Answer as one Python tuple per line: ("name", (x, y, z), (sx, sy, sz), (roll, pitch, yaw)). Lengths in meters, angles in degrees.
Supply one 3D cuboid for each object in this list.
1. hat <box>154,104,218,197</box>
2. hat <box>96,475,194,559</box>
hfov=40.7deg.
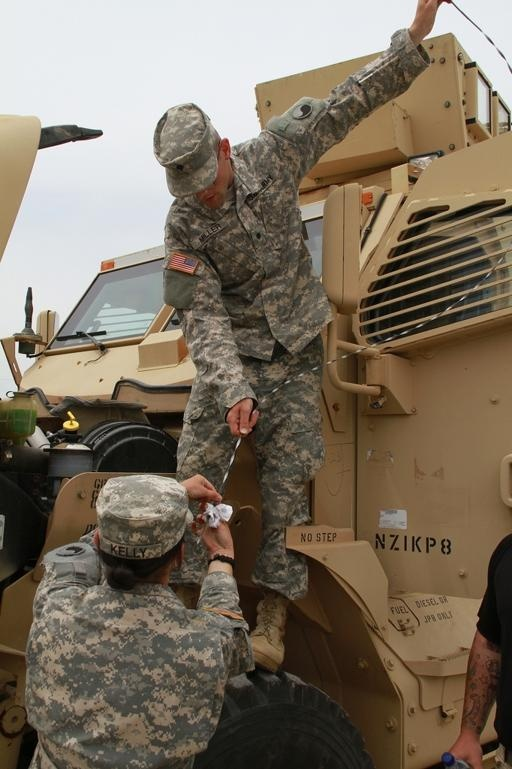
("hat", (-0.195, -0.669, 1.929), (0.165, 0.274, 0.123), (1, -3, 6))
("hat", (-0.223, 0.264, 1.341), (0.169, 0.141, 0.135), (2, -3, -10))
